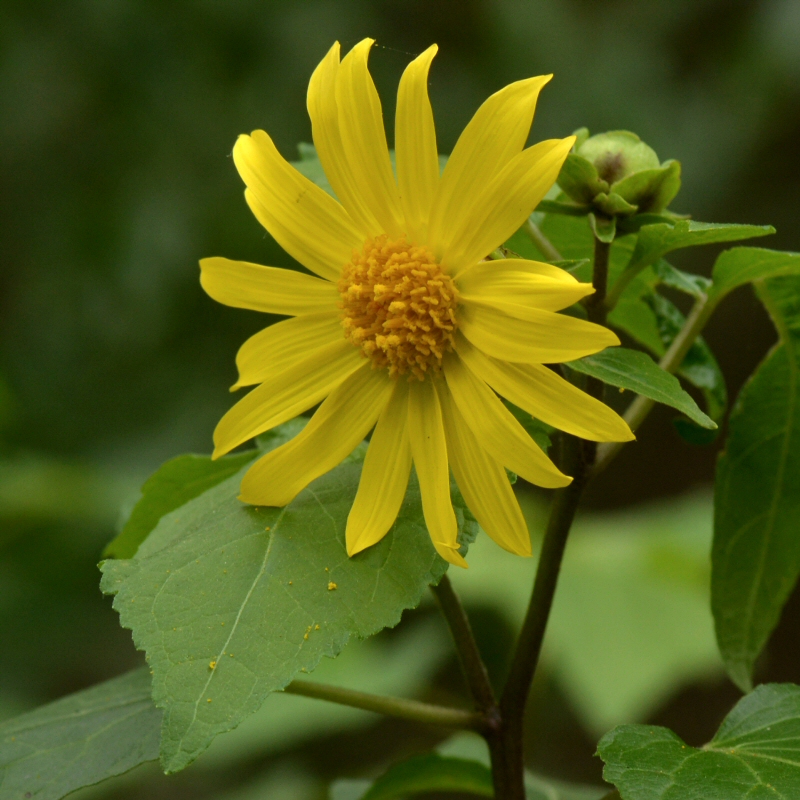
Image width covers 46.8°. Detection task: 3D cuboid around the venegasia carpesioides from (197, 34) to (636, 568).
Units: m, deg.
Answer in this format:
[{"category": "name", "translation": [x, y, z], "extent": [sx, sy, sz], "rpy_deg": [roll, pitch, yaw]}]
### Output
[{"category": "venegasia carpesioides", "translation": [0.056, -0.095, 0.842], "extent": [0.131, 0.434, 0.426], "rpy_deg": [-20, -32, -9]}]
